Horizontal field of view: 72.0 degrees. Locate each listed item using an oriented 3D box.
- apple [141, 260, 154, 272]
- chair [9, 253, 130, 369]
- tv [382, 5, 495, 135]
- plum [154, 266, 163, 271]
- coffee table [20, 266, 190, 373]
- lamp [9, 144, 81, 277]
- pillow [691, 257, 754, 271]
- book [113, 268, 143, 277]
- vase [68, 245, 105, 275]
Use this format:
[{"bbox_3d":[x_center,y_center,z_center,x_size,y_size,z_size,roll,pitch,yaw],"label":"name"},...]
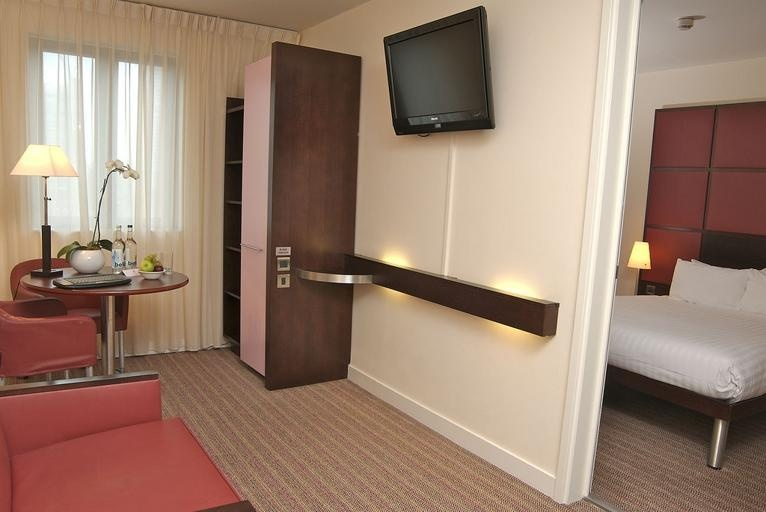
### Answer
[{"bbox_3d":[-1.963,0.075,4.376,0.090,0.098,0.095,-4,21,9],"label":"apple"},{"bbox_3d":[-2.721,0.521,4.734,0.843,1.071,0.906,-8,8,-43],"label":"chair"},{"bbox_3d":[0.452,-1.402,4.014,0.179,0.920,1.136,-23,17,-38],"label":"tv"},{"bbox_3d":[-1.861,0.108,4.383,0.038,0.027,0.047,-2,1,0],"label":"plum"},{"bbox_3d":[-2.245,0.636,4.313,1.159,0.886,1.183,1,8,-21],"label":"coffee table"},{"bbox_3d":[-2.862,-0.422,4.546,0.440,1.066,0.958,-10,15,-31],"label":"lamp"},{"bbox_3d":[3.739,0.105,6.001,0.463,0.070,0.108,10,60,28],"label":"pillow"},{"bbox_3d":[-2.142,0.144,4.470,0.130,0.033,0.090,6,17,-9],"label":"book"},{"bbox_3d":[-2.435,0.037,4.338,0.221,0.166,0.225,4,8,6],"label":"vase"}]
